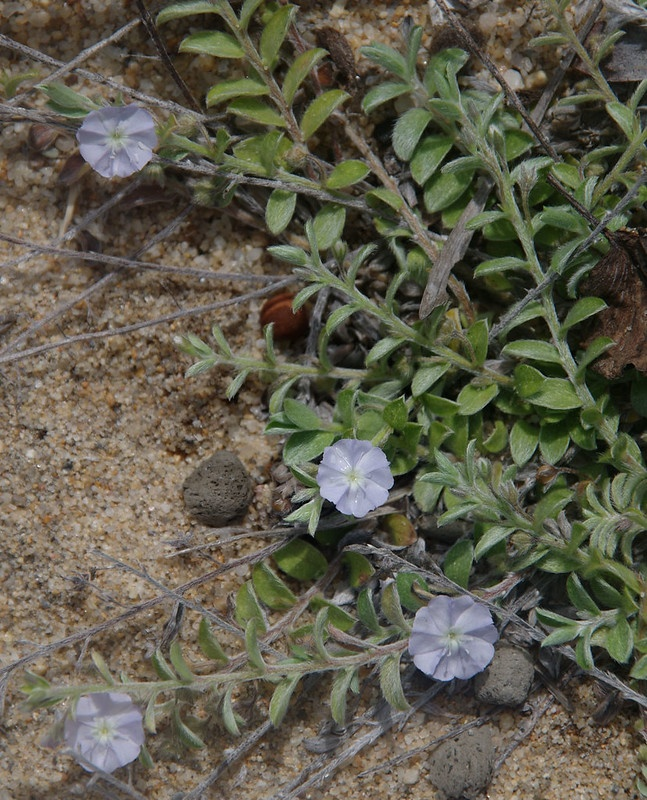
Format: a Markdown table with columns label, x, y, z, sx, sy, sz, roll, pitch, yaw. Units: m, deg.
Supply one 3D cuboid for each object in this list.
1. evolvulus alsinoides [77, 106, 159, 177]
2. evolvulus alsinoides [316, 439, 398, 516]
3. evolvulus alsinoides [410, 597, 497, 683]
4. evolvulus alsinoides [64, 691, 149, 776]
| label | x | y | z | sx | sy | sz | roll | pitch | yaw |
| --- | --- | --- | --- | --- | --- | --- | --- | --- | --- |
| evolvulus alsinoides | -0.556 | -0.719 | 2.087 | 0.172 | 0.072 | 0.177 | -22 | 14 | -35 |
| evolvulus alsinoides | 0.069 | 0.188 | 2.004 | 0.249 | 0.080 | 0.238 | 4 | 45 | 10 |
| evolvulus alsinoides | 0.320 | 0.602 | 1.948 | 0.231 | 0.205 | 0.088 | -7 | 2 | 0 |
| evolvulus alsinoides | -0.541 | 0.793 | 1.956 | 0.192 | 0.065 | 0.189 | 11 | 11 | 13 |
